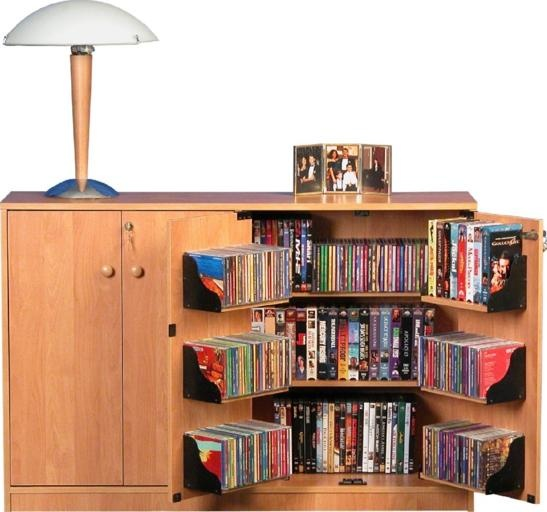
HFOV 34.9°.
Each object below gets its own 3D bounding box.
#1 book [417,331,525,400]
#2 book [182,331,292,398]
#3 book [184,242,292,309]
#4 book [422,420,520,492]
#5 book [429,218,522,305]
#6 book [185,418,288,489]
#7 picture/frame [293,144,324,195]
[{"bbox_3d":[0.990,0.569,4.342,0.536,0.308,0.225,-1,1,12],"label":"book"},{"bbox_3d":[-0.168,0.538,4.128,0.525,0.276,0.257,-1,1,-6],"label":"book"},{"bbox_3d":[-0.149,0.107,4.140,0.552,0.283,0.212,-1,1,-34],"label":"book"},{"bbox_3d":[1.022,1.047,4.462,0.525,0.306,0.240,-1,1,13],"label":"book"},{"bbox_3d":[0.998,0.025,4.224,0.373,0.364,0.202,8,12,44],"label":"book"},{"bbox_3d":[-0.188,0.845,4.198,0.515,0.277,0.284,-1,-1,-34],"label":"book"},{"bbox_3d":[0.199,-0.496,4.931,0.180,0.286,0.044,-1,1,-26],"label":"picture/frame"}]
